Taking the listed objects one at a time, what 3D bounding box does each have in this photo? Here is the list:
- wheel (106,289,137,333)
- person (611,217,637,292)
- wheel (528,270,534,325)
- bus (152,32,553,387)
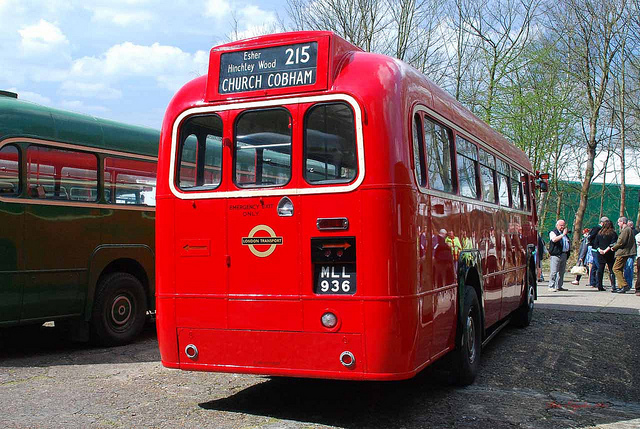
[{"bbox_3d":[-3.990,1.912,9.386,0.153,1.030,0.840,-3,-7,31],"label":"wheel"},{"bbox_3d":[11.411,1.506,17.664,0.669,2.777,1.311,-2,-3,40],"label":"person"},{"bbox_3d":[5.200,1.969,11.601,0.091,1.196,0.818,-1,-2,27],"label":"wheel"},{"bbox_3d":[1.317,0.086,8.520,3.486,3.765,7.903,-2,-3,30],"label":"bus"}]
